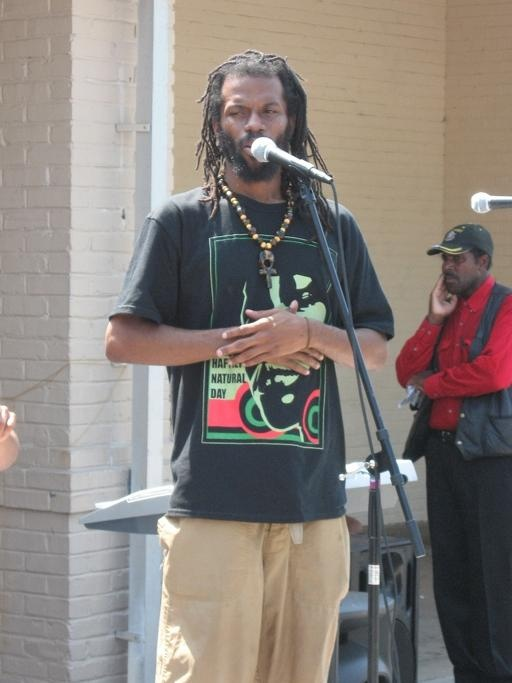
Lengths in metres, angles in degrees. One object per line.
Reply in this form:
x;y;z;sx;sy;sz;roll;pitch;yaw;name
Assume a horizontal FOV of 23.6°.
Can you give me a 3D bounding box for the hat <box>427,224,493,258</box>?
0.842;-0.405;5.003;0.222;0.104;0.146;5;-4;-12;hat
